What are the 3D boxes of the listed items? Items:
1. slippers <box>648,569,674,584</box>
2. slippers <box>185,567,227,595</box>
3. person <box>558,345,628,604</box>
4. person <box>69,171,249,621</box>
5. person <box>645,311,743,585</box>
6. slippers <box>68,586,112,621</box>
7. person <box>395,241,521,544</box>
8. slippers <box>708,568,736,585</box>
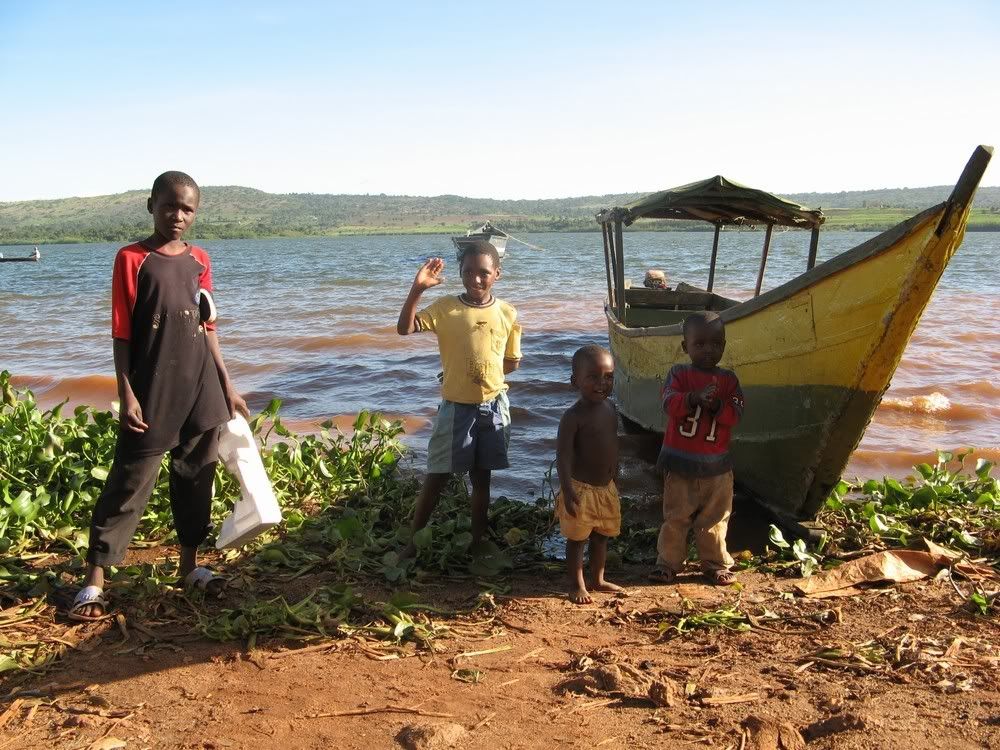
[{"bbox_3d":[1.003,1.251,4.955,0.167,0.043,0.067,-4,8,-38],"label":"slippers"},{"bbox_3d":[-1.701,1.188,4.605,0.246,0.072,0.126,9,8,40],"label":"slippers"},{"bbox_3d":[0.537,0.580,4.746,0.406,1.502,0.614,-1,11,3],"label":"person"},{"bbox_3d":[-1.811,0.084,4.353,0.330,2.311,0.687,6,14,31],"label":"person"},{"bbox_3d":[1.224,0.445,4.901,0.482,1.650,0.452,1,12,12],"label":"person"},{"bbox_3d":[-2.212,1.209,4.239,0.194,0.170,0.137,-5,11,-20],"label":"slippers"},{"bbox_3d":[-0.217,0.149,5.091,0.798,1.974,0.393,-3,12,-10],"label":"person"},{"bbox_3d":[1.361,1.228,4.856,0.168,0.065,0.143,-1,8,0],"label":"slippers"}]
